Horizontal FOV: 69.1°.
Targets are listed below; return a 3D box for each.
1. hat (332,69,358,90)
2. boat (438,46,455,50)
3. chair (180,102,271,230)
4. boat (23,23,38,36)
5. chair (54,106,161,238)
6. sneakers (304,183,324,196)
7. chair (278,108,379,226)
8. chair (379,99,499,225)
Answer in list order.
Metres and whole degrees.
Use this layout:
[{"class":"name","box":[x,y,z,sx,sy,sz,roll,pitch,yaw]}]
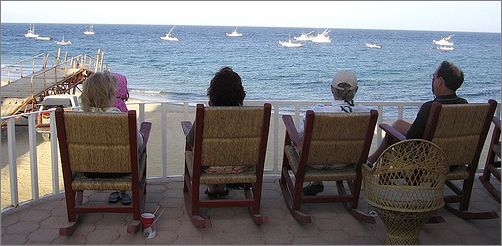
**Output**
[{"class":"hat","box":[1.581,-0.739,6.125,0.424,0.299,0.422,3,16,11]},{"class":"boat","box":[32.913,-12.374,60.233,2.771,0.667,1.762,1,11,6]},{"class":"chair","box":[-0.402,0.651,5.890,1.425,2.029,0.730,-2,18,-6]},{"class":"boat","box":[-54.695,-23.073,90.092,2.574,2.891,44.871,-10,18,-29]},{"class":"chair","box":[-2.339,0.724,5.735,1.305,2.018,0.707,-1,18,-1]},{"class":"sneakers","box":[1.114,1.176,6.495,0.381,0.144,0.169,-6,42,-3]},{"class":"chair","box":[1.585,0.573,6.109,1.502,1.592,2.108,1,16,-4]},{"class":"chair","box":[3.362,0.390,6.819,1.718,1.849,2.330,-2,8,-12]}]
